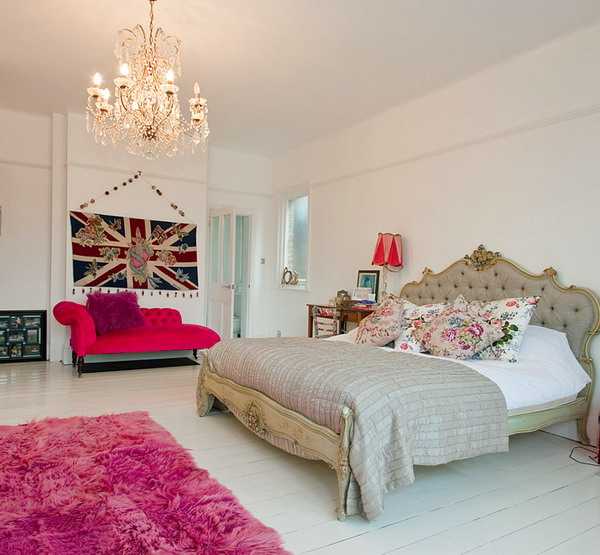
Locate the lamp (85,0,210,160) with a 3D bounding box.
[{"bbox_3d":[-1.325,-1.722,3.881,0.936,1.485,0.988,2,0,-3],"label":"lamp"}]

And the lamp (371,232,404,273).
[{"bbox_3d":[0.911,-0.285,4.879,0.355,0.387,0.357,1,2,5],"label":"lamp"}]

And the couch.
[{"bbox_3d":[-1.977,0.681,5.481,1.763,0.656,0.866,2,0,-32],"label":"couch"}]

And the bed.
[{"bbox_3d":[0.746,0.709,3.022,1.814,1.263,1.841,4,-3,-27],"label":"bed"}]

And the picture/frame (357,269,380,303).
[{"bbox_3d":[0.793,0.104,5.234,0.019,0.427,0.348,20,-16,-33],"label":"picture/frame"}]
